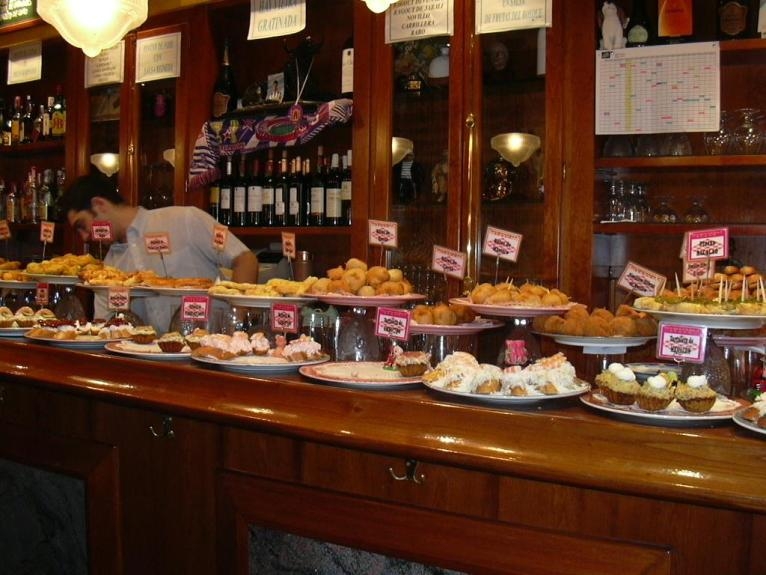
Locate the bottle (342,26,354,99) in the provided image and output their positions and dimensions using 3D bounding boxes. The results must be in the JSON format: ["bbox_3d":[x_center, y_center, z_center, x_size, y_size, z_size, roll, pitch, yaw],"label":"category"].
[{"bbox_3d":[-0.172,-1.107,3.200,0.051,0.293,0.145,-1,3,-7],"label":"bottle"}]

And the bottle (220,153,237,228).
[{"bbox_3d":[-0.870,-0.556,3.643,0.114,0.386,0.120,7,20,-3],"label":"bottle"}]

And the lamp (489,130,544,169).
[{"bbox_3d":[0.598,-0.620,2.852,0.158,0.093,0.167,0,-3,5],"label":"lamp"}]

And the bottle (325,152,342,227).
[{"bbox_3d":[-0.254,-0.487,3.341,0.099,0.310,0.090,0,3,8],"label":"bottle"}]

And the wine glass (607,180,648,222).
[{"bbox_3d":[1.072,-0.363,2.893,0.174,0.181,0.179,-2,-4,38],"label":"wine glass"}]

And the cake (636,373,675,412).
[{"bbox_3d":[0.566,0.231,1.355,0.063,0.056,0.076,17,-11,-40],"label":"cake"}]

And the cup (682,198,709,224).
[{"bbox_3d":[1.390,-0.343,2.866,0.091,0.113,0.422,1,5,27],"label":"cup"}]

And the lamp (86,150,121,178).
[{"bbox_3d":[-1.696,-0.767,3.972,0.198,0.157,0.043,-1,3,21],"label":"lamp"}]

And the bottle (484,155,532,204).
[{"bbox_3d":[0.541,-0.471,2.904,0.214,0.238,0.179,0,0,0],"label":"bottle"}]

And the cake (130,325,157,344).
[{"bbox_3d":[-0.760,0.147,2.075,0.055,0.042,0.059,1,-2,13],"label":"cake"}]

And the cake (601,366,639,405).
[{"bbox_3d":[0.506,0.211,1.391,0.065,0.060,0.076,2,-2,-10],"label":"cake"}]

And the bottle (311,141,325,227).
[{"bbox_3d":[-0.346,-0.541,3.418,0.083,0.420,0.224,-1,3,-5],"label":"bottle"}]

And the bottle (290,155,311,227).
[{"bbox_3d":[-0.454,-0.518,3.493,0.109,0.360,0.211,-1,4,-8],"label":"bottle"}]

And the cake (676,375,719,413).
[{"bbox_3d":[0.645,0.218,1.339,0.074,0.073,0.062,1,4,24],"label":"cake"}]

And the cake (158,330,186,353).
[{"bbox_3d":[-0.622,0.156,1.915,0.056,0.041,0.057,-1,10,-30],"label":"cake"}]

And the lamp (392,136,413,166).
[{"bbox_3d":[0.092,-0.662,3.121,0.082,0.122,0.102,11,6,8],"label":"lamp"}]

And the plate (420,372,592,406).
[{"bbox_3d":[0.286,0.240,1.496,0.388,0.035,0.187,0,5,5],"label":"plate"}]

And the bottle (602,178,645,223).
[{"bbox_3d":[1.071,-0.368,2.892,0.188,0.199,0.197,1,-1,-12],"label":"bottle"}]

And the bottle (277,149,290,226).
[{"bbox_3d":[-0.543,-0.493,3.499,0.074,0.307,0.138,-1,3,-8],"label":"bottle"}]

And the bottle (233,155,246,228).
[{"bbox_3d":[-0.789,-0.542,3.586,0.082,0.388,0.086,3,5,0],"label":"bottle"}]

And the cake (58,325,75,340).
[{"bbox_3d":[-1.016,0.142,2.087,0.043,0.016,0.044,-5,19,-6],"label":"cake"}]

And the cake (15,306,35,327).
[{"bbox_3d":[-1.306,0.111,2.369,0.066,0.033,0.094,21,30,-37],"label":"cake"}]

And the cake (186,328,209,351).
[{"bbox_3d":[-0.547,0.149,1.924,0.058,0.041,0.066,2,6,10],"label":"cake"}]

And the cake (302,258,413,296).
[{"bbox_3d":[-0.083,-0.036,2.076,0.337,0.112,0.224,0,4,7],"label":"cake"}]

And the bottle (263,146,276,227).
[{"bbox_3d":[-0.626,-0.540,3.566,0.071,0.397,0.225,-1,4,-8],"label":"bottle"}]

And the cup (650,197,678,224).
[{"bbox_3d":[1.262,-0.347,2.897,0.131,0.139,0.137,0,5,0],"label":"cup"}]

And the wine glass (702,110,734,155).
[{"bbox_3d":[1.405,-0.642,2.763,0.105,0.187,0.110,-6,-3,-27],"label":"wine glass"}]
